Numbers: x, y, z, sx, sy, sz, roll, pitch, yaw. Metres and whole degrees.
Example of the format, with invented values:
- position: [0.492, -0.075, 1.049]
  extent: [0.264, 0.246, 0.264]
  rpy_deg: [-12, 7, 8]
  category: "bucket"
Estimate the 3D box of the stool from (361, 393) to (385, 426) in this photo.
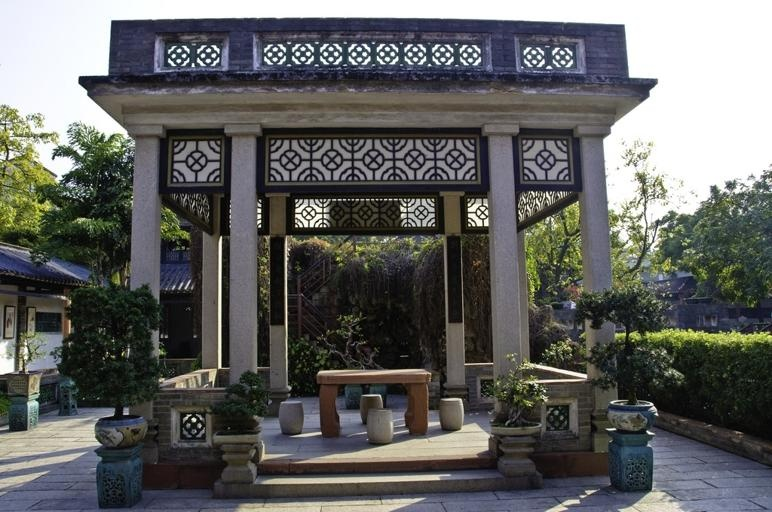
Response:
- position: [-0.368, 2.862, 12.671]
  extent: [0.466, 0.462, 0.471]
  rpy_deg: [0, -2, 44]
  category: "stool"

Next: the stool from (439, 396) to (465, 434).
- position: [1.161, 2.853, 12.057]
  extent: [0.478, 0.504, 0.494]
  rpy_deg: [0, -7, -3]
  category: "stool"

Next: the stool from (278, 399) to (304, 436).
- position: [-1.675, 2.875, 11.995]
  extent: [0.476, 0.513, 0.491]
  rpy_deg: [1, -9, -9]
  category: "stool"

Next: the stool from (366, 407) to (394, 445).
- position: [-0.111, 2.844, 11.247]
  extent: [0.484, 0.484, 0.501]
  rpy_deg: [1, -7, -3]
  category: "stool"

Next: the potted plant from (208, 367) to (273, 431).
- position: [-2.281, 2.146, 10.119]
  extent: [0.829, 1.159, 0.872]
  rpy_deg: [-10, -14, 37]
  category: "potted plant"

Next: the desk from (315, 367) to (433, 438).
- position: [-0.143, 2.935, 12.120]
  extent: [1.775, 1.031, 1.116]
  rpy_deg: [-1, -12, -1]
  category: "desk"

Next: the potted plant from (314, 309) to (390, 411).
- position: [-0.940, 2.387, 15.829]
  extent: [1.790, 2.594, 1.847]
  rpy_deg: [-1, -12, 20]
  category: "potted plant"
